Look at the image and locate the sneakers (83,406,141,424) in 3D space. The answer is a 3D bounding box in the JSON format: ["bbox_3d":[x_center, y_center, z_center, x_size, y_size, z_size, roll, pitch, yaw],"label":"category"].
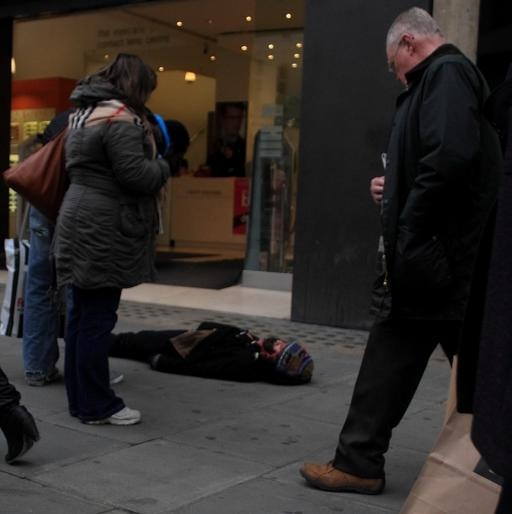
[{"bbox_3d":[-0.794,0.880,3.217,0.303,0.113,0.105,-3,1,-6],"label":"sneakers"}]

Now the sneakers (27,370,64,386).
[{"bbox_3d":[-1.459,0.836,4.012,0.081,0.084,0.214,4,8,33],"label":"sneakers"}]

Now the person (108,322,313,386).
[{"bbox_3d":[-0.351,0.702,4.440,1.468,0.290,0.491,2,-17,22],"label":"person"}]

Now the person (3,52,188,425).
[{"bbox_3d":[-0.781,-0.117,3.199,0.637,2.055,0.384,2,2,-17],"label":"person"}]

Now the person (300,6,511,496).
[{"bbox_3d":[0.637,-0.033,2.303,0.546,2.021,0.391,5,3,44],"label":"person"}]

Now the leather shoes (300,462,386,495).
[{"bbox_3d":[0.368,0.912,2.442,0.351,0.123,0.125,5,-8,14],"label":"leather shoes"}]
